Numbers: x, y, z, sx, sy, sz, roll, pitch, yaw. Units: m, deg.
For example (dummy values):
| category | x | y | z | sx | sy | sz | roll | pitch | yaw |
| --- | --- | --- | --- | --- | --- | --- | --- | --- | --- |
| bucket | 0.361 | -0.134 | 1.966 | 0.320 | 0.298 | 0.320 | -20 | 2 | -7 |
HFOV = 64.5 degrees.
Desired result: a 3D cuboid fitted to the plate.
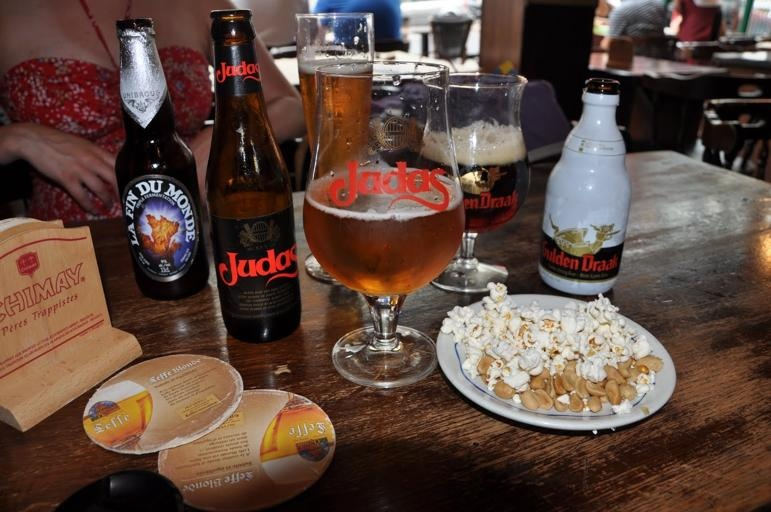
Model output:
| category | x | y | z | sx | sy | sz | roll | pitch | yaw |
| --- | --- | --- | --- | --- | --- | --- | --- | --- | --- |
| plate | 0.279 | 0.173 | 1.019 | 0.365 | 0.134 | 0.302 | 15 | 31 | 27 |
